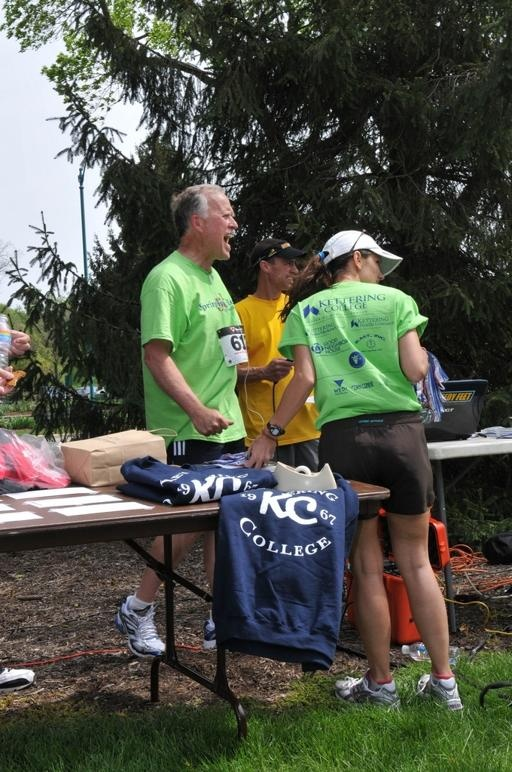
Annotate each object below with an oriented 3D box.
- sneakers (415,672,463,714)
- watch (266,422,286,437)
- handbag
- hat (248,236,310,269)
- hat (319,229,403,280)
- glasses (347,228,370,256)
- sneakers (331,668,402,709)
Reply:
[{"bbox_3d":[0.657,1.087,2.527,0.072,0.077,0.188,-2,0,-13],"label":"sneakers"},{"bbox_3d":[0.091,0.171,2.785,0.048,0.069,0.065,-26,3,-20],"label":"watch"},{"bbox_3d":[-0.519,0.258,2.569,0.277,0.134,0.208,-3,2,-42],"label":"handbag"},{"bbox_3d":[0.159,-0.866,4.560,0.326,0.157,0.201,-9,11,4],"label":"hat"},{"bbox_3d":[0.472,-0.546,2.999,0.338,0.164,0.209,-8,1,-10],"label":"hat"},{"bbox_3d":[0.428,-0.596,2.921,0.030,0.091,0.090,11,0,-9],"label":"glasses"},{"bbox_3d":[0.417,1.141,2.706,0.282,0.115,0.100,-3,-1,43],"label":"sneakers"}]
